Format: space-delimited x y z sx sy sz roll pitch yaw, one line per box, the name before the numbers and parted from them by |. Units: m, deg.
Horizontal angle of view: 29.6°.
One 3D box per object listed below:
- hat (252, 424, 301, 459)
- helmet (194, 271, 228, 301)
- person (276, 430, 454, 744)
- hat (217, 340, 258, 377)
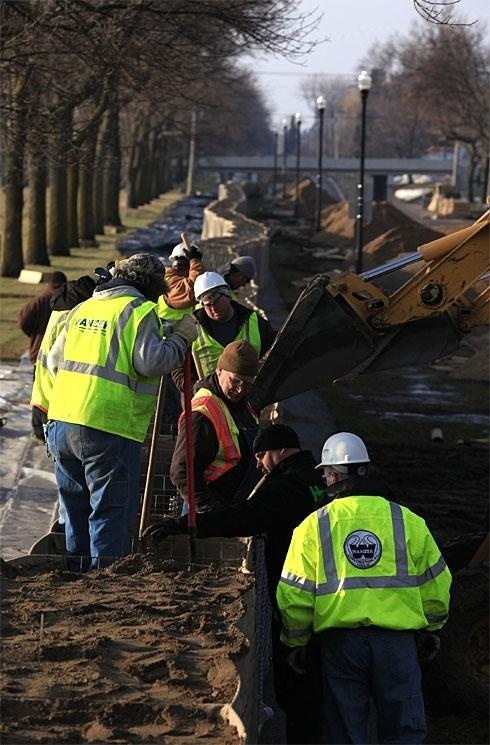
hat | 0.151 0.311 4.247 0.185 0.138 0.130 16 -5 8
helmet | -0.225 -0.579 6.284 0.206 0.200 0.266 1 11 -2
person | 0.449 0.914 3.539 0.616 1.135 0.456 5 13 18
hat | -0.022 -0.064 4.538 0.149 0.132 0.203 24 2 -32
